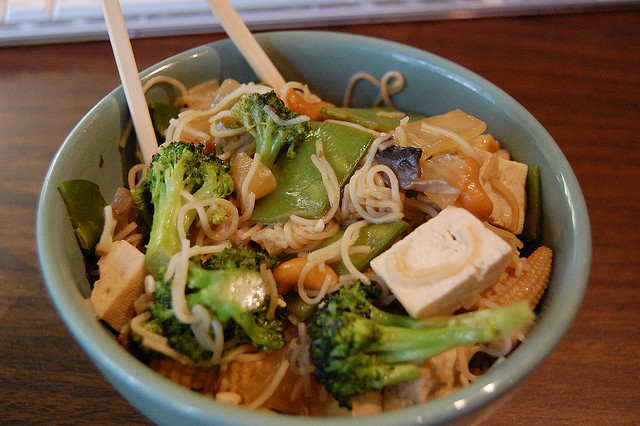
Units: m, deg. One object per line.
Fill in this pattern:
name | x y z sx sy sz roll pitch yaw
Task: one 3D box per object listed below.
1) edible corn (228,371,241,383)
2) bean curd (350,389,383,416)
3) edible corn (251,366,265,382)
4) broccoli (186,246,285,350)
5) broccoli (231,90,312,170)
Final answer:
edible corn | -0.398 0.756 2.659 0.050 0.015 0.050 -4 80 5
bean curd | 0.215 0.851 2.585 0.111 0.117 0.029 -1 103 -2
edible corn | -0.283 0.753 2.665 0.051 0.012 0.067 42 80 8
broccoli | -0.369 0.374 2.653 0.383 0.740 0.377 -1 107 -6
broccoli | -0.222 -0.415 3.022 0.379 0.388 0.339 23 77 35
